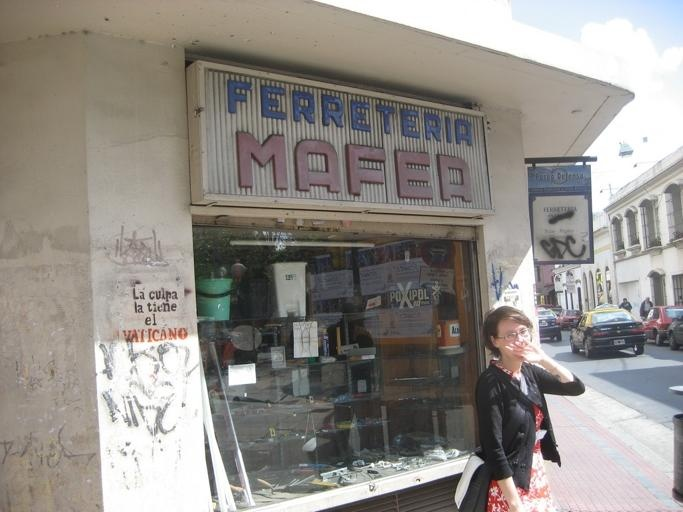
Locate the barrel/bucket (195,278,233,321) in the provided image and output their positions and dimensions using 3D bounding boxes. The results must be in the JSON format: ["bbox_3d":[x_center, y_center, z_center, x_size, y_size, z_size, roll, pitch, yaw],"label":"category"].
[{"bbox_3d":[-1.095,0.369,5.200,0.321,0.338,0.321,-2,0,0],"label":"barrel/bucket"}]

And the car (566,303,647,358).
[{"bbox_3d":[8.681,2.519,20.465,1.224,0.965,2.822,-2,-1,0],"label":"car"}]

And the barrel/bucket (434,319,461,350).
[{"bbox_3d":[1.134,0.831,6.419,0.274,0.302,0.281,-2,-3,0],"label":"barrel/bucket"}]
